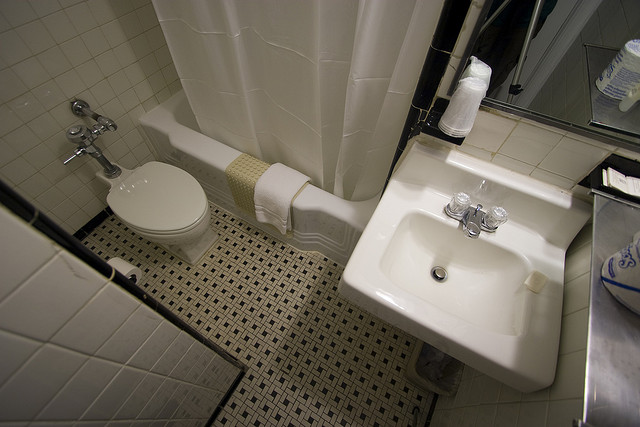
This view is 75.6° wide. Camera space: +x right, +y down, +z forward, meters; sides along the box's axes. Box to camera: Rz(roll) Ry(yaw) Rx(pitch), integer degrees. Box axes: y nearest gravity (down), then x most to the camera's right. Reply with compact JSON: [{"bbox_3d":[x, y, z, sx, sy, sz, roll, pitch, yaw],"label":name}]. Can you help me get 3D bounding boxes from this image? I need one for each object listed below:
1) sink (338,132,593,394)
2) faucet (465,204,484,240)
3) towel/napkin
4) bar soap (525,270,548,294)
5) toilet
[{"bbox_3d":[0.524,0.184,1.609,0.729,0.447,0.699,26,58,11],"label":"sink"},{"bbox_3d":[0.597,0.027,1.590,0.051,0.094,0.168,9,73,15],"label":"faucet"},{"bbox_3d":[-0.287,-0.124,2.204,0.407,0.264,0.241,29,61,14],"label":"towel/napkin"},{"bbox_3d":[0.783,0.247,1.491,0.081,0.027,0.064,-36,67,-22],"label":"bar soap"},{"bbox_3d":[-0.857,-0.109,2.188,0.604,0.415,0.384,34,65,12],"label":"toilet"}]
